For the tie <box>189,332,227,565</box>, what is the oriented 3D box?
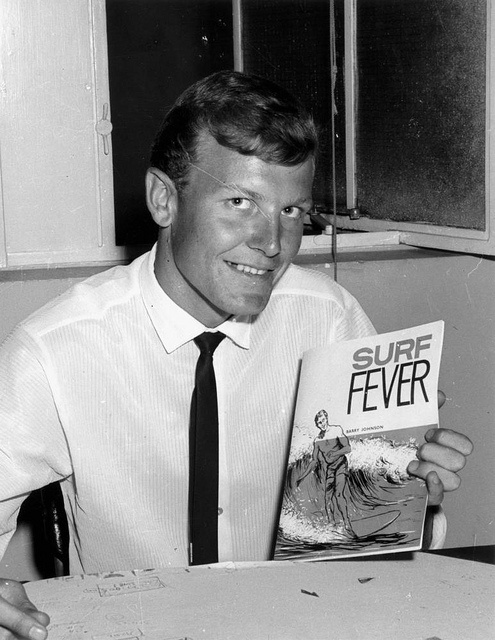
[{"bbox_3d":[-0.060,0.187,1.024,0.038,0.271,0.077,-1,4,-5],"label":"tie"}]
